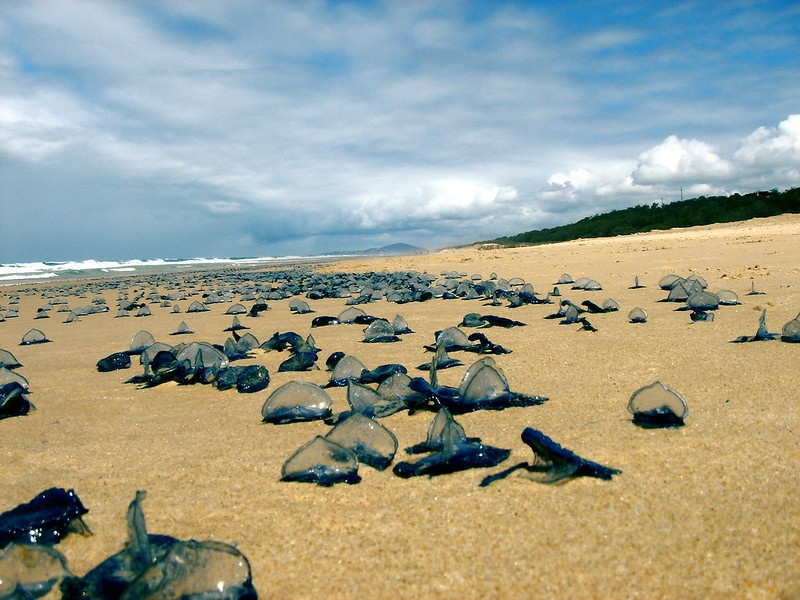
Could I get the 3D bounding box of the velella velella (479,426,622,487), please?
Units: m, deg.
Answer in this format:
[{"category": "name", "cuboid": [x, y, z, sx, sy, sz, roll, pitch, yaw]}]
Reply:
[{"category": "velella velella", "cuboid": [0.749, 0.744, 3.097, 0.748, 0.259, 0.226, -12, -16, 33]}]
